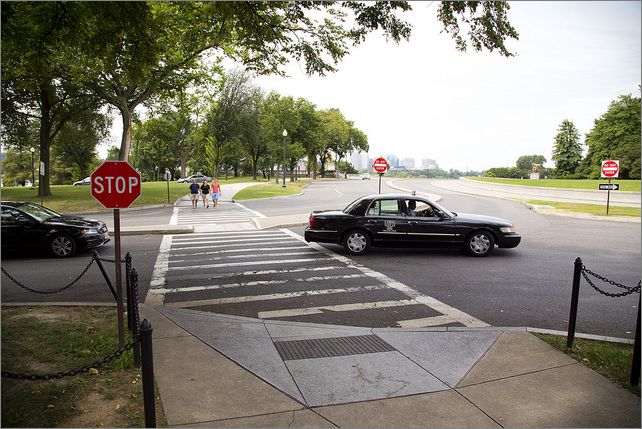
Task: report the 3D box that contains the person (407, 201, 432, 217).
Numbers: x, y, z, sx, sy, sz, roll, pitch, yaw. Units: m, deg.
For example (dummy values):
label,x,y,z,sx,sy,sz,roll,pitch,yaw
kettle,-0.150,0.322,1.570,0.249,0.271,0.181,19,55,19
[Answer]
label,x,y,z,sx,sy,sz,roll,pitch,yaw
person,3.330,-0.184,14.680,0.727,0.293,0.472,1,3,-1

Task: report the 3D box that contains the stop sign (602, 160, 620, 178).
label,x,y,z,sx,sy,sz,roll,pitch,yaw
stop sign,17.007,-2.640,25.365,0.550,1.026,0.991,-1,15,-4
